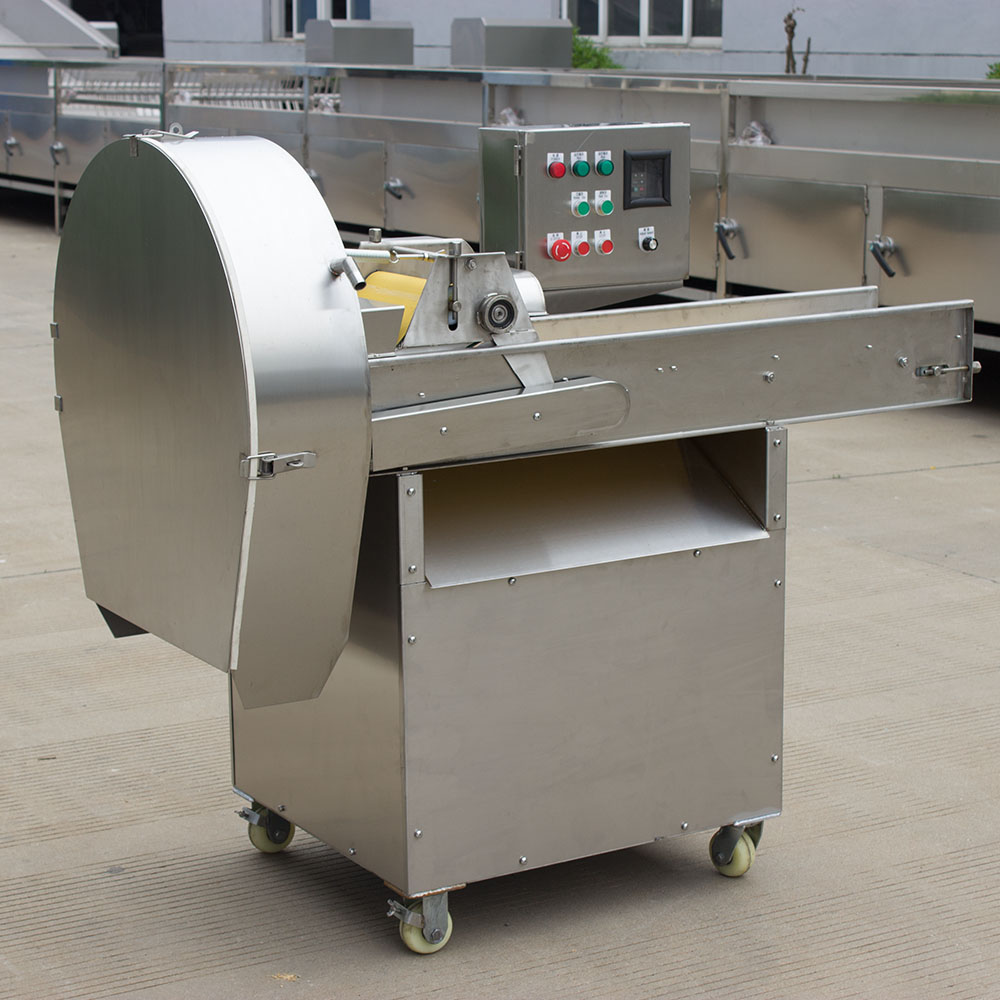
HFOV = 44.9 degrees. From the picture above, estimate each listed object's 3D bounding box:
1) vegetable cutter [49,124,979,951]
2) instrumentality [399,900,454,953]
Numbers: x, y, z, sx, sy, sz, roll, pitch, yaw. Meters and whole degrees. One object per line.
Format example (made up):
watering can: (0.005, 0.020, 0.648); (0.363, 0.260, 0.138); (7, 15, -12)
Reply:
vegetable cutter: (-0.022, 0.022, 1.847); (1.108, 1.047, 0.698); (-7, 13, -32)
instrumentality: (-0.103, 0.607, 1.733); (0.065, 0.074, 0.068); (-2, 7, -24)
